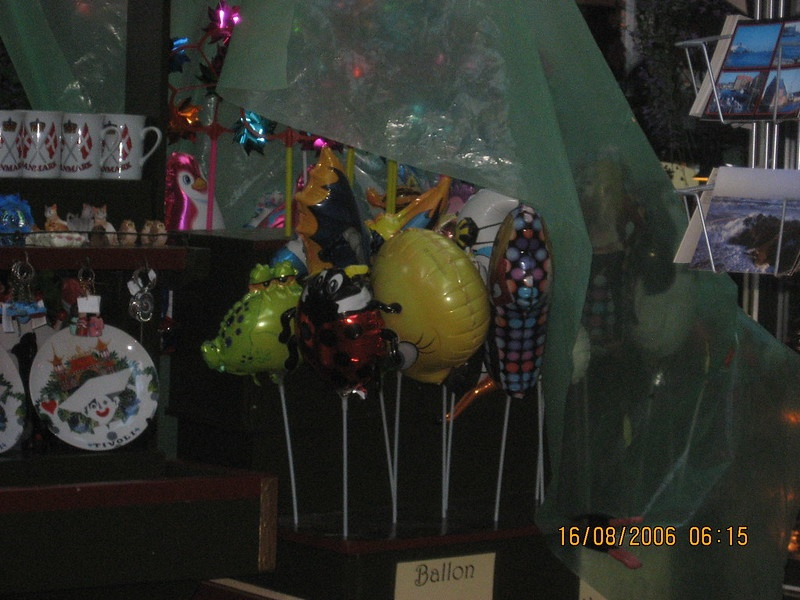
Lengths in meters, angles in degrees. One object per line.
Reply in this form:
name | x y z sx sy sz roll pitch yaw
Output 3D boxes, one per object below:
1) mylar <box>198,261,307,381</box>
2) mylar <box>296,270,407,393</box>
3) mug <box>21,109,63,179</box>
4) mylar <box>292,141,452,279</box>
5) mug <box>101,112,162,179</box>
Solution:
mylar | -0.271 0.061 1.568 0.209 0.232 0.173 -14 -5 16
mylar | -0.088 0.069 1.454 0.166 0.245 0.116 -14 25 -21
mug | -0.669 -0.287 1.549 0.081 0.135 0.084 5 7 18
mylar | -0.052 -0.153 1.512 0.272 0.221 0.177 -1 16 5
mug | -0.507 -0.283 1.572 0.125 0.127 0.080 4 7 16
